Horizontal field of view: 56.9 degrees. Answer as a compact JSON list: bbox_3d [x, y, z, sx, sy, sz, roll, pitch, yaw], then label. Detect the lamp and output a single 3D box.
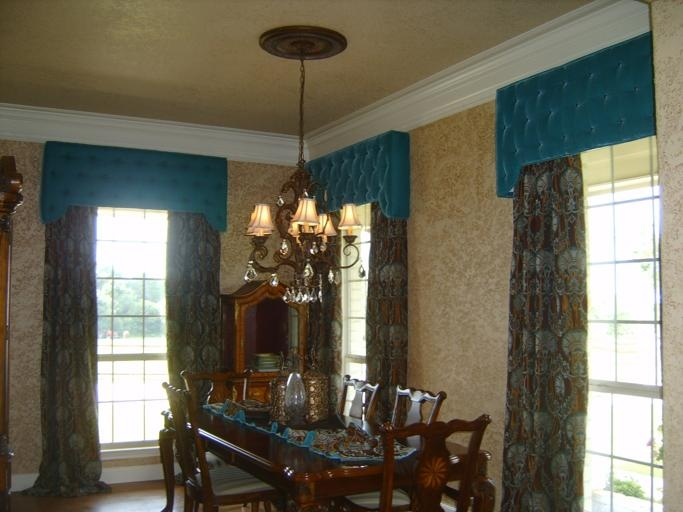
[{"bbox_3d":[-0.317,-0.668,5.240,0.889,2.199,0.885,0,2,-2],"label":"lamp"}]
